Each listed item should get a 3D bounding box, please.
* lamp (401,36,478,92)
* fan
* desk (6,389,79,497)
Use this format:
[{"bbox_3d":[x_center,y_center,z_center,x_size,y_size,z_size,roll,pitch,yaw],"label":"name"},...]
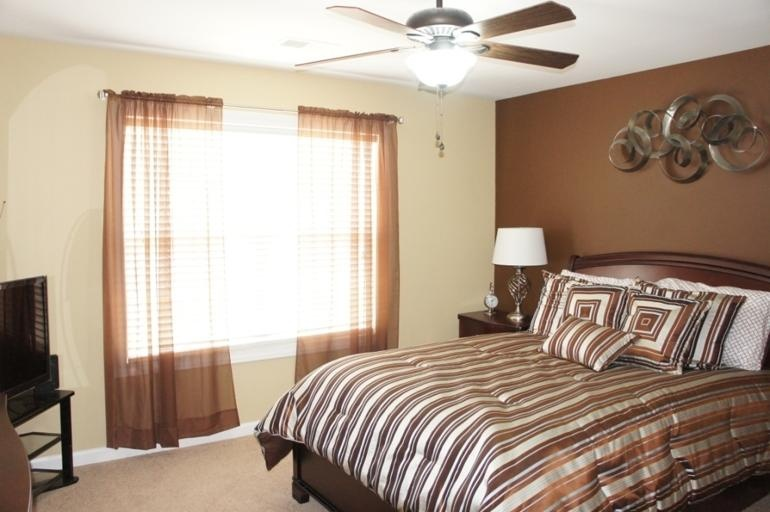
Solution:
[{"bbox_3d":[0.338,-1.072,3.236,0.311,0.226,0.302,0,2,11],"label":"lamp"},{"bbox_3d":[0.456,-1.253,3.126,1.478,0.227,0.799,-1,7,-7],"label":"fan"},{"bbox_3d":[-2.521,1.367,4.153,0.406,0.767,0.658,-5,9,-30],"label":"desk"}]
